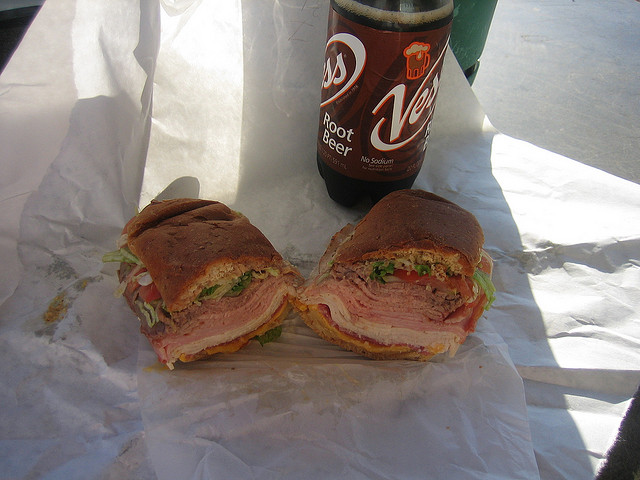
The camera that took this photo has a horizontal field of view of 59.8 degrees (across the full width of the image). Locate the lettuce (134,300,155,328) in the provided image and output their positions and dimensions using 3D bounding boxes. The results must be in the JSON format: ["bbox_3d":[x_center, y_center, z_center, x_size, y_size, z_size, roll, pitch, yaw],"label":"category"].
[{"bbox_3d":[-0.597,0.252,1.902,0.023,0.048,0.087,-6,68,-61],"label":"lettuce"}]

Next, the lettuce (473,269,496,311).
[{"bbox_3d":[0.585,0.175,1.968,0.032,0.137,0.088,-11,14,29],"label":"lettuce"}]

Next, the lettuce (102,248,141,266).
[{"bbox_3d":[-0.714,0.058,1.997,0.090,0.077,0.022,13,12,12],"label":"lettuce"}]

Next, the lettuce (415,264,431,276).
[{"bbox_3d":[0.352,0.100,1.914,0.055,0.031,0.024,3,47,-4],"label":"lettuce"}]

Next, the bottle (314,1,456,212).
[{"bbox_3d":[0.195,-0.530,2.379,0.454,0.969,0.463,4,37,-3],"label":"bottle"}]

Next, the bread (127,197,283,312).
[{"bbox_3d":[-0.440,-0.017,2.027,0.468,0.202,0.490,-22,54,-25],"label":"bread"}]

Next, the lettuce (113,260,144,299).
[{"bbox_3d":[-0.674,0.139,1.974,0.166,0.044,0.034,-47,29,-2],"label":"lettuce"}]

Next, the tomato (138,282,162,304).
[{"bbox_3d":[-0.584,0.181,1.908,0.066,0.067,0.023,-10,-5,15],"label":"tomato"}]

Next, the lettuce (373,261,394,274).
[{"bbox_3d":[0.223,0.093,1.942,0.049,0.018,0.049,6,52,1],"label":"lettuce"}]
